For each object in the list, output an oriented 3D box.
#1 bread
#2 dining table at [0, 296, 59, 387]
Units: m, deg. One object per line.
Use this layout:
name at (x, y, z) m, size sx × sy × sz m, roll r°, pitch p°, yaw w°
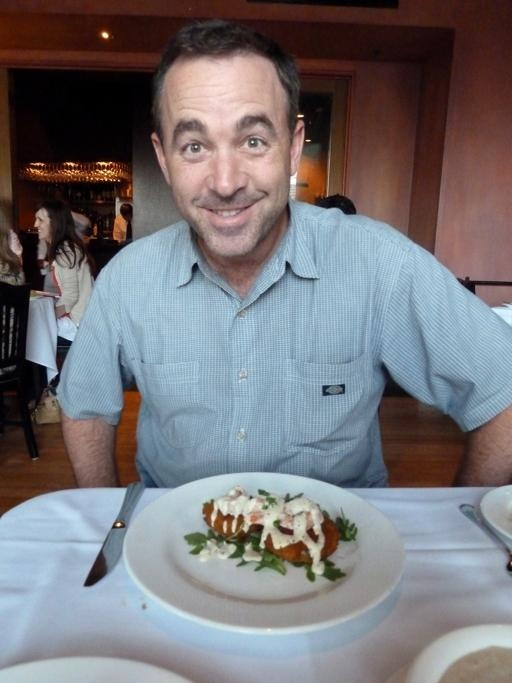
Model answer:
bread at (0.022, 0.215, 0.659) m, size 0.116 × 0.041 × 0.072 m, roll 8°, pitch -5°, yaw 13°
dining table at (-1.329, -0.041, 3.367) m, size 0.479 × 0.543 × 0.428 m, roll 0°, pitch 3°, yaw -6°
